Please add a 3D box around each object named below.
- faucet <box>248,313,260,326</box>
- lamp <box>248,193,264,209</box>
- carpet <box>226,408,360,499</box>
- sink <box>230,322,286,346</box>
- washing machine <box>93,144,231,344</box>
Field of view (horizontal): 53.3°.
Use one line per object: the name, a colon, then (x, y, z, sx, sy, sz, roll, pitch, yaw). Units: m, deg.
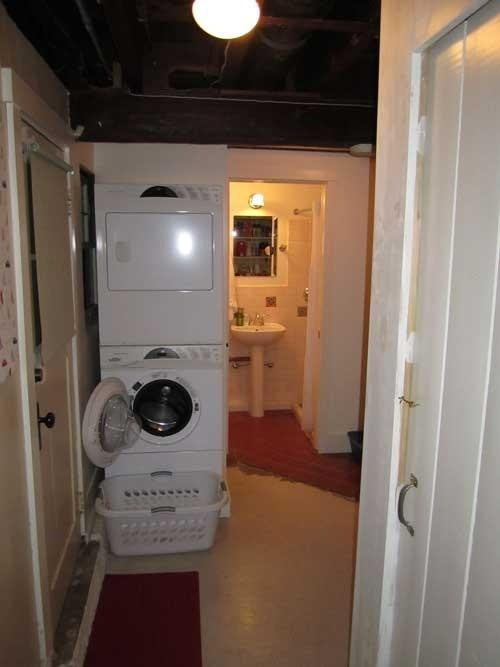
faucet: (0.032, -0.108, 4.573, 0.142, 0.176, 0.084, 0, -3, -4)
lamp: (0.053, -1.159, 4.344, 0.112, 0.141, 0.106, 0, 8, 6)
carpet: (0.322, 0.863, 3.748, 1.245, 0.115, 0.951, 9, 11, 29)
sink: (0.058, 0.020, 4.392, 0.461, 0.183, 0.407, 3, 9, -4)
washing machine: (-0.448, -0.490, 2.619, 0.661, 1.061, 0.556, 1, 8, -12)
